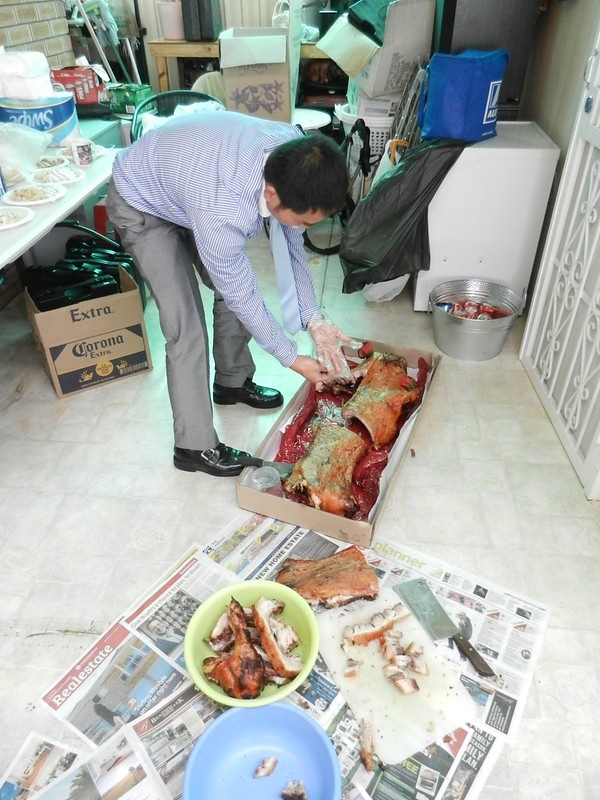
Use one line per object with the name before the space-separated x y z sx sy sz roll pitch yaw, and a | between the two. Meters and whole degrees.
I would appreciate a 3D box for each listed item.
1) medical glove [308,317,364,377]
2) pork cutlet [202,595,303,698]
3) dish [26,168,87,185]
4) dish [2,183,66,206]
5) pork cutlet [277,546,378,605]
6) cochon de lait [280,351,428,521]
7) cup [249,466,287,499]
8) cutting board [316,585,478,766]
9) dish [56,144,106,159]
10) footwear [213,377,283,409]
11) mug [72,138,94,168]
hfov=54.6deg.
medical glove | 0.108 -0.167 1.807 0.156 0.179 0.128 -12 34 -26
pork cutlet | -0.099 0.545 1.274 0.202 0.076 0.246 19 45 5
dish | -0.890 -0.827 2.149 0.129 0.021 0.121 13 42 9
dish | -0.910 -0.699 1.985 0.146 0.019 0.136 -4 41 -11
pork cutlet | 0.057 0.479 1.540 0.283 0.064 0.175 -4 34 -24
cochon de lait | 0.164 0.088 1.936 0.398 0.133 0.622 21 67 19
cup | -0.102 0.247 1.762 0.089 0.097 0.082 2 57 -2
cutting board | 0.207 0.619 1.354 0.272 0.025 0.383 -14 35 -22
dish | -0.892 -1.005 2.352 0.107 0.021 0.102 -21 53 -23
footwear | -0.200 -0.013 2.301 0.281 0.113 0.108 1 43 -1
mug | -0.850 -0.970 2.282 0.073 0.096 0.106 -6 51 -15
